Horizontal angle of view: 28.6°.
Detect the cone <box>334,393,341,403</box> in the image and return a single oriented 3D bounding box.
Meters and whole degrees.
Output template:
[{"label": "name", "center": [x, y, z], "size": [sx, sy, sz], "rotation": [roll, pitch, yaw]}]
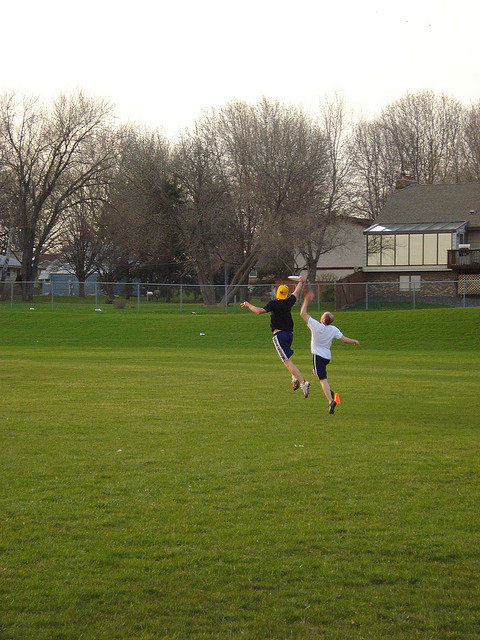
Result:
[{"label": "cone", "center": [1.261, 0.977, 12.165], "size": [0.062, 0.183, 0.071], "rotation": [-2, -7, -11]}]
